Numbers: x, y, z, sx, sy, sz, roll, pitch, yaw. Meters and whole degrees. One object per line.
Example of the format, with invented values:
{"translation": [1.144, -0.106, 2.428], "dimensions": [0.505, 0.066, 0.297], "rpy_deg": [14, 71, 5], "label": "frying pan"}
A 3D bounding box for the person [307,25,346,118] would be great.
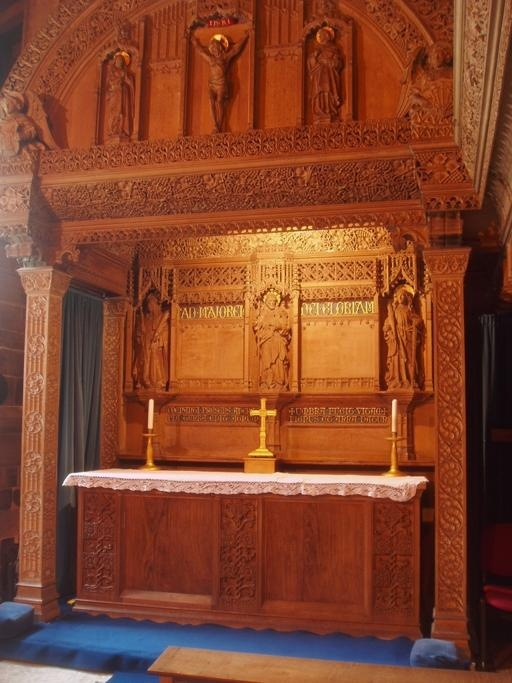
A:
{"translation": [0.488, -1.863, 5.339], "dimensions": [0.251, 0.741, 0.091], "rpy_deg": [-2, -9, 9], "label": "person"}

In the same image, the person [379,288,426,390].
{"translation": [1.285, -0.042, 6.615], "dimensions": [0.330, 0.908, 0.129], "rpy_deg": [-2, -9, 12], "label": "person"}

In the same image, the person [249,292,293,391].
{"translation": [0.144, -0.028, 6.937], "dimensions": [0.366, 0.945, 0.150], "rpy_deg": [-1, -9, 6], "label": "person"}

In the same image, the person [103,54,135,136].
{"translation": [-1.040, -1.844, 5.775], "dimensions": [0.276, 0.738, 0.101], "rpy_deg": [-6, -10, 34], "label": "person"}

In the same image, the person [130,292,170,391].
{"translation": [-1.000, -0.028, 7.316], "dimensions": [0.402, 1.016, 0.172], "rpy_deg": [-5, -10, 28], "label": "person"}

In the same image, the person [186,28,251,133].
{"translation": [-0.274, -1.902, 5.522], "dimensions": [0.444, 0.853, 0.155], "rpy_deg": [-6, -10, 32], "label": "person"}
